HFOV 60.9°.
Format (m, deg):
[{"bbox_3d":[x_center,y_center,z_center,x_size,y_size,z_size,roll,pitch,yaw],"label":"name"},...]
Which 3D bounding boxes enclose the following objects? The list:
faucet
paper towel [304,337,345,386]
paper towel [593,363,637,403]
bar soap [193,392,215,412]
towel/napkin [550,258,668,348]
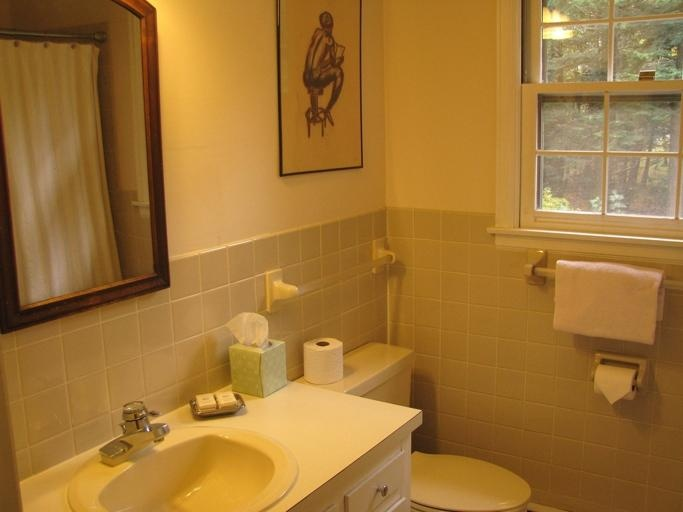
[{"bbox_3d":[-0.590,0.506,1.644,0.156,0.149,0.185,2,8,14],"label":"faucet"},{"bbox_3d":[-0.065,0.412,2.312,0.157,0.150,0.153,0,5,17],"label":"paper towel"},{"bbox_3d":[1.113,0.516,2.339,0.178,0.152,0.172,7,5,22],"label":"paper towel"},{"bbox_3d":[-0.436,0.469,1.866,0.066,0.028,0.076,-8,16,-19],"label":"bar soap"},{"bbox_3d":[1.033,0.176,2.273,0.376,0.273,0.103,4,16,24],"label":"towel/napkin"}]
